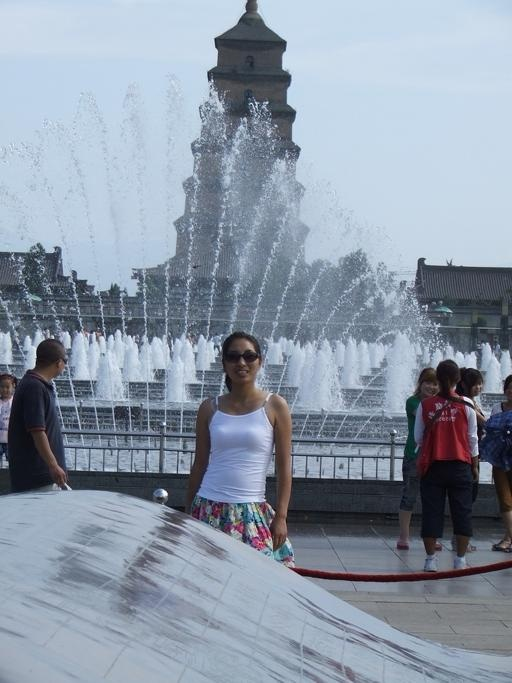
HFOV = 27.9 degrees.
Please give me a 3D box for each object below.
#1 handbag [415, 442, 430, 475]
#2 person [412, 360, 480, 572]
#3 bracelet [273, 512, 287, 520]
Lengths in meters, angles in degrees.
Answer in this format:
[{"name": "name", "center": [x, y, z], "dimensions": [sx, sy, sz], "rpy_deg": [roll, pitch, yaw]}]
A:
[{"name": "handbag", "center": [0.685, 0.503, 4.320], "dimensions": [0.040, 0.110, 0.078], "rpy_deg": [0, -5, 18]}, {"name": "person", "center": [0.787, 0.526, 4.308], "dimensions": [0.270, 0.850, 0.462], "rpy_deg": [3, 10, 9]}, {"name": "bracelet", "center": [0.057, 0.443, 2.625], "dimensions": [0.020, 0.021, 0.040], "rpy_deg": [23, -28, -29]}]
